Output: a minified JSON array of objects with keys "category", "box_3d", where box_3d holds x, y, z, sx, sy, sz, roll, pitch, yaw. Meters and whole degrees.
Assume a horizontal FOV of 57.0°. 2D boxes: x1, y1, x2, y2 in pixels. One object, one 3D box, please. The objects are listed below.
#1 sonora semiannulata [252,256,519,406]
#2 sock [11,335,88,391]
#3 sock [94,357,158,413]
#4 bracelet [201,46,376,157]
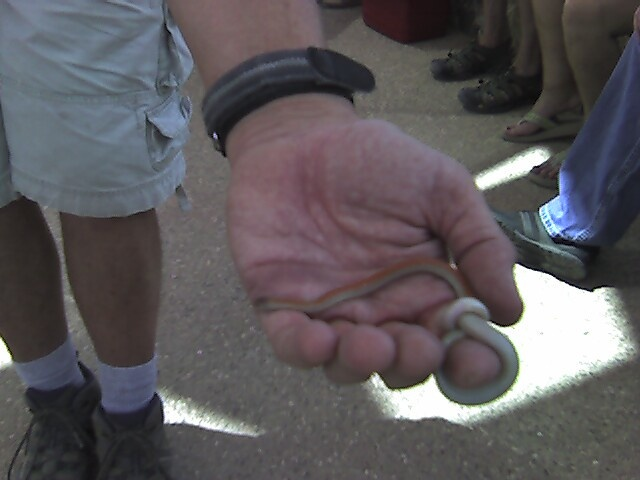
[{"category":"sonora semiannulata","box_3d":[0.110,0.121,0.831,0.303,0.070,0.217,4,67,15]},{"category":"sock","box_3d":[-0.521,0.251,1.147,0.089,0.095,0.099,-9,21,21]},{"category":"sock","box_3d":[-0.363,0.276,1.111,0.083,0.101,0.117,-1,87,-2]},{"category":"bracelet","box_3d":[-0.047,-0.226,0.902,0.266,0.117,0.044,-12,45,-5]}]
